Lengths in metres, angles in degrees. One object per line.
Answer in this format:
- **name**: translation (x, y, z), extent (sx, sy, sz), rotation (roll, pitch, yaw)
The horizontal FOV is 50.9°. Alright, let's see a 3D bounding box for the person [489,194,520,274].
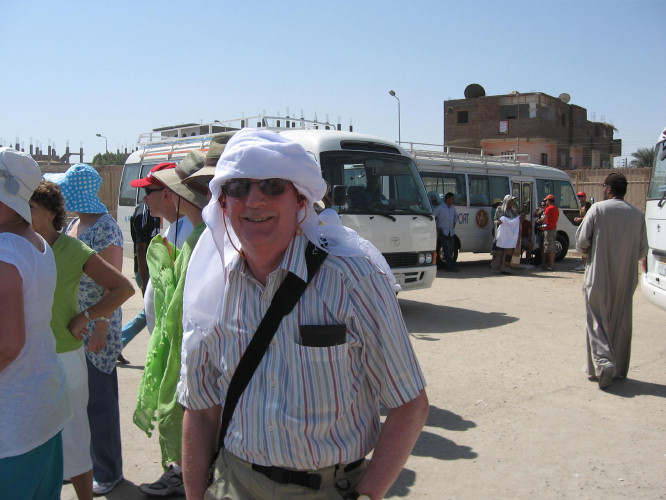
- **person**: translation (4.065, -0.357, 16.185), extent (0.490, 1.810, 0.704), rotation (0, 0, -18)

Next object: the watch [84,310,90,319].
- **watch**: translation (-1.524, 0.401, 4.343), extent (0.029, 0.046, 0.076), rotation (-2, 6, -18)

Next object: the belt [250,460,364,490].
- **belt**: translation (-0.106, 0.978, 3.027), extent (0.479, 0.108, 0.068), rotation (0, 6, -6)

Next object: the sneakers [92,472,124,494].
- **sneakers**: translation (-1.564, 1.632, 4.879), extent (0.070, 0.110, 0.224), rotation (1, -6, 30)

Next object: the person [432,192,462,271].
- **person**: translation (2.686, -0.417, 16.463), extent (0.507, 1.853, 1.010), rotation (1, 6, 10)

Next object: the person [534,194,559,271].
- **person**: translation (5.315, -0.498, 17.075), extent (0.436, 1.850, 0.630), rotation (13, 16, 20)

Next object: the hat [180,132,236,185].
- **hat**: translation (-0.828, -0.683, 4.640), extent (0.404, 0.193, 0.479), rotation (-39, 1, 10)

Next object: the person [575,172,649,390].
- **person**: translation (2.942, 0.275, 7.424), extent (0.770, 2.137, 0.601), rotation (2, -1, -26)
